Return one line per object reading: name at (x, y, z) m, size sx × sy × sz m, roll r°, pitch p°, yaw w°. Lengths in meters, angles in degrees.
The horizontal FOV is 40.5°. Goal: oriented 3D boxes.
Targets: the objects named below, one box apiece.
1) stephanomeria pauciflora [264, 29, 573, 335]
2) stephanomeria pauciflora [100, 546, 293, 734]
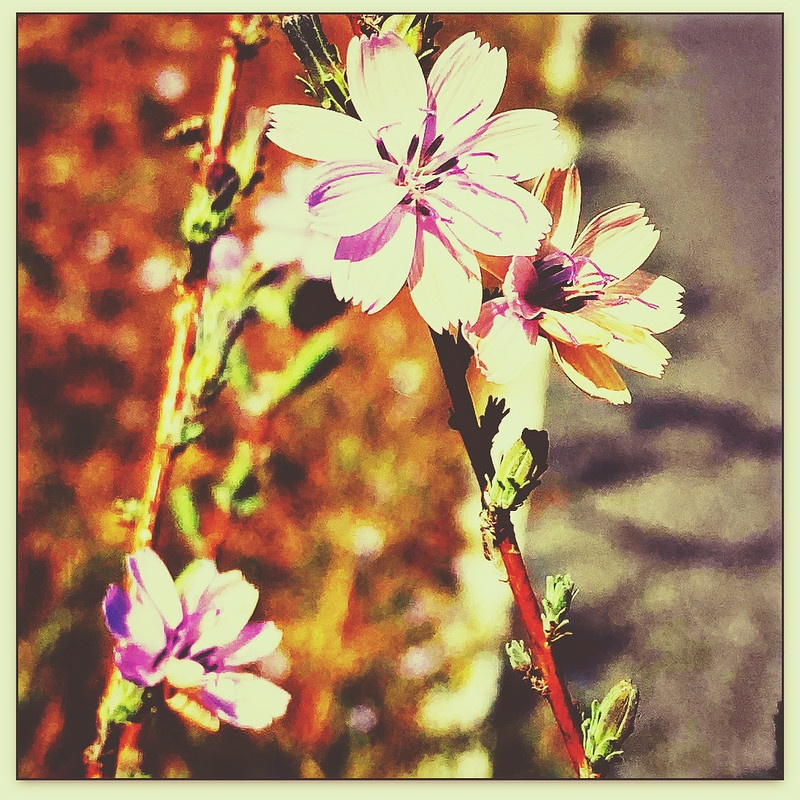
stephanomeria pauciflora at (0.026, -0.256, 1.257) m, size 0.335 × 0.203 × 0.263 m, roll -15°, pitch 52°, yaw 0°
stephanomeria pauciflora at (-0.220, 0.263, 1.161) m, size 0.174 × 0.077 × 0.234 m, roll -3°, pitch 86°, yaw -17°
